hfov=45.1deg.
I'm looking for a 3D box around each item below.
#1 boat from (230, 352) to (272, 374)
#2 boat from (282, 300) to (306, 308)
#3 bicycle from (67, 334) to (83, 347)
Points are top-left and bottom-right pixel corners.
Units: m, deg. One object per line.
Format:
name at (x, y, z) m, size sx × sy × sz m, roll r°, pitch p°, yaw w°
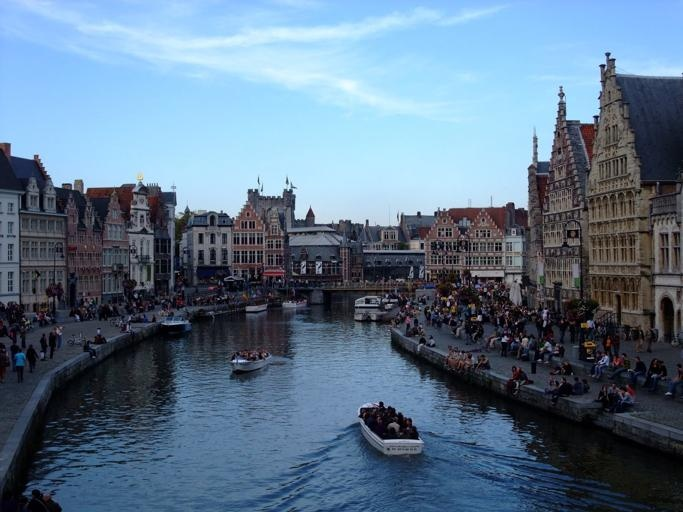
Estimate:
boat at (-7.722, 9.085, 70.866) m, size 1.726 × 1.604 × 4.933 m, roll 1°, pitch 5°, yaw 24°
boat at (-7.940, 8.761, 147.578) m, size 1.454 × 1.072 × 5.110 m, roll 1°, pitch 0°, yaw 20°
bicycle at (-23.974, 7.682, 74.084) m, size 1.274 × 0.551 × 1.309 m, roll 0°, pitch 1°, yaw -14°
